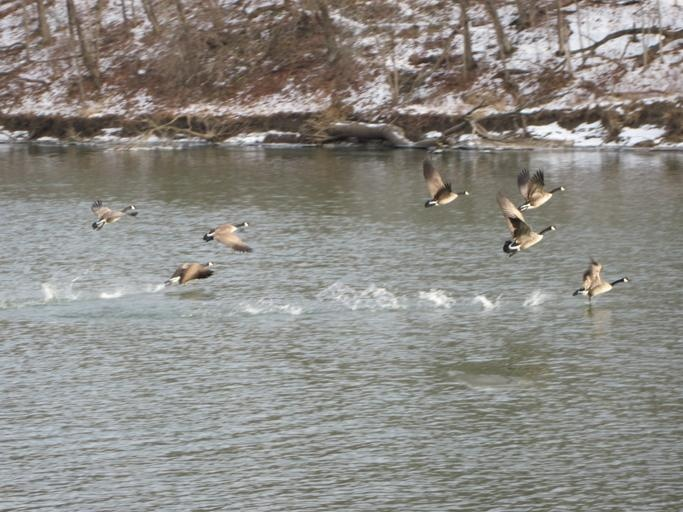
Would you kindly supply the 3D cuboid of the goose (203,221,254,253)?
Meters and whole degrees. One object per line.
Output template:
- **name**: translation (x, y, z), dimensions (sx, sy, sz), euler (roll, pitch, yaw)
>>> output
- **goose**: translation (-2.572, -0.426, 28.460), dimensions (0.828, 0.286, 1.035), euler (12, 6, -26)

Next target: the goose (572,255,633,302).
- **goose**: translation (5.224, 0.441, 25.017), dimensions (1.363, 0.812, 1.243), euler (-1, 4, 38)
